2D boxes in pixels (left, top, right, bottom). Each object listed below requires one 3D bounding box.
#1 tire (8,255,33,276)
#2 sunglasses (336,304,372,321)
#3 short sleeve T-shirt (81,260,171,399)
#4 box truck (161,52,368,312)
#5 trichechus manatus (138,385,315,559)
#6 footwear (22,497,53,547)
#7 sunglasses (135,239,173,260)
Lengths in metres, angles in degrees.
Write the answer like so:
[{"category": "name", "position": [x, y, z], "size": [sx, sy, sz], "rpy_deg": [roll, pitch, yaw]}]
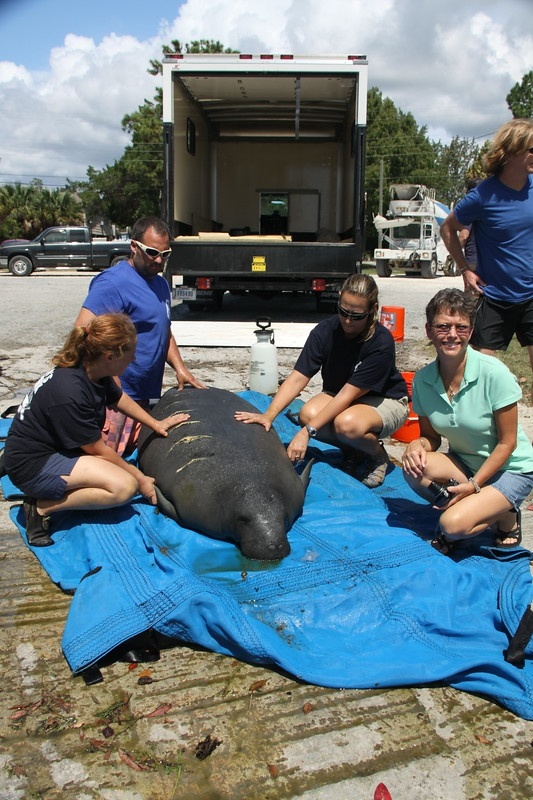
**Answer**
[{"category": "tire", "position": [-8.797, -4.828, 22.836], "size": [0.568, 0.566, 0.195], "rpy_deg": [-20, 19, -1]}, {"category": "sunglasses", "position": [0.536, -0.503, 3.706], "size": [0.231, 0.083, 0.136], "rpy_deg": [-6, 14, -21]}, {"category": "short sleeve T-shirt", "position": [-0.914, -0.438, 4.066], "size": [0.555, 0.886, 0.536], "rpy_deg": [5, 14, -14]}, {"category": "box truck", "position": [0.147, -3.561, 12.805], "size": [3.495, 4.025, 6.408], "rpy_deg": [2, 9, 2]}, {"category": "trichechus manatus", "position": [-0.242, 0.348, 3.592], "size": [0.922, 0.495, 1.511], "rpy_deg": [-11, 26, -22]}, {"category": "footwear", "position": [-1.096, 0.602, 3.096], "size": [0.120, 0.281, 0.102], "rpy_deg": [-28, -16, 29]}, {"category": "sunglasses", "position": [-0.714, -0.918, 3.889], "size": [0.136, 0.044, 0.131], "rpy_deg": [40, 23, 22]}]
